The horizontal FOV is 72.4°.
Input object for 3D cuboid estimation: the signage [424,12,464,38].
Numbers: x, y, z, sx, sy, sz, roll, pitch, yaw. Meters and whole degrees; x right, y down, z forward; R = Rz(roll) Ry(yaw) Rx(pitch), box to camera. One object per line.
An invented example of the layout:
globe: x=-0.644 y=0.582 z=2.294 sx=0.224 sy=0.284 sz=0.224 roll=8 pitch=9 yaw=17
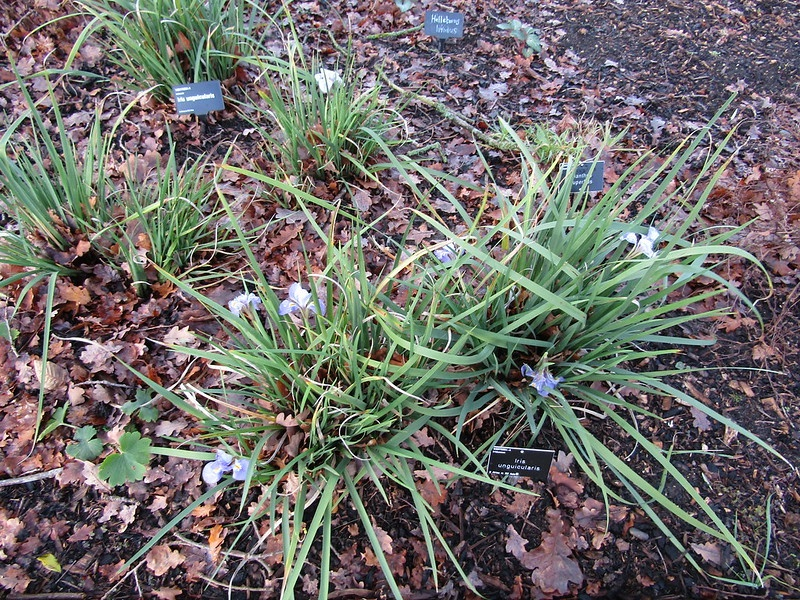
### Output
signage: x=0.320 y=-2.009 z=3.991 sx=0.369 sy=0.231 sz=0.017 roll=0 pitch=51 yaw=-9

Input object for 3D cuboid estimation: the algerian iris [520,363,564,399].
algerian iris: x=0.629 y=0.358 z=2.485 sx=0.163 sy=0.076 sz=0.160 roll=26 pitch=40 yaw=24

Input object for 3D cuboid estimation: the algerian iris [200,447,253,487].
algerian iris: x=-0.728 y=0.712 z=2.298 sx=0.168 sy=0.165 sz=0.123 roll=8 pitch=52 yaw=-8

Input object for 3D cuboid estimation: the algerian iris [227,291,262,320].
algerian iris: x=-0.707 y=0.020 z=2.537 sx=0.152 sy=0.072 sz=0.142 roll=-6 pitch=33 yaw=12

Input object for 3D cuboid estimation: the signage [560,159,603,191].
signage: x=0.917 y=-0.630 z=2.760 sx=0.285 sy=0.174 sz=0.013 roll=-8 pitch=14 yaw=-30
